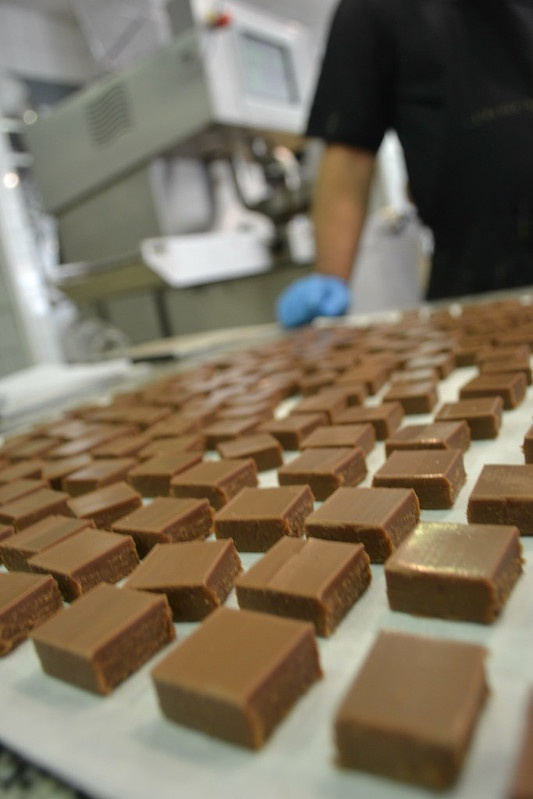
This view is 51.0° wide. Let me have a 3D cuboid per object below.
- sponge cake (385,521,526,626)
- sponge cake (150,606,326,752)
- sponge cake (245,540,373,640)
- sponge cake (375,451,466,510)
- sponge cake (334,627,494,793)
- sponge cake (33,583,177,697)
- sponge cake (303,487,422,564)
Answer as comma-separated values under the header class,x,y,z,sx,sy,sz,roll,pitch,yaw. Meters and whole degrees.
class,x,y,z,sx,sy,sz,roll,pitch,yaw
sponge cake,0.140,0.124,0.414,0.084,0.038,0.086,-5,12,35
sponge cake,-0.017,0.171,0.351,0.102,0.037,0.100,-9,9,2
sponge cake,0.035,0.133,0.420,0.068,0.030,0.071,6,26,37
sponge cake,0.157,0.079,0.570,0.085,0.034,0.084,-5,14,38
sponge cake,0.079,0.159,0.298,0.062,0.036,0.079,6,27,28
sponge cake,-0.126,0.181,0.430,0.088,0.037,0.085,-20,15,-41
sponge cake,0.078,0.089,0.486,0.073,0.030,0.073,-1,24,35
